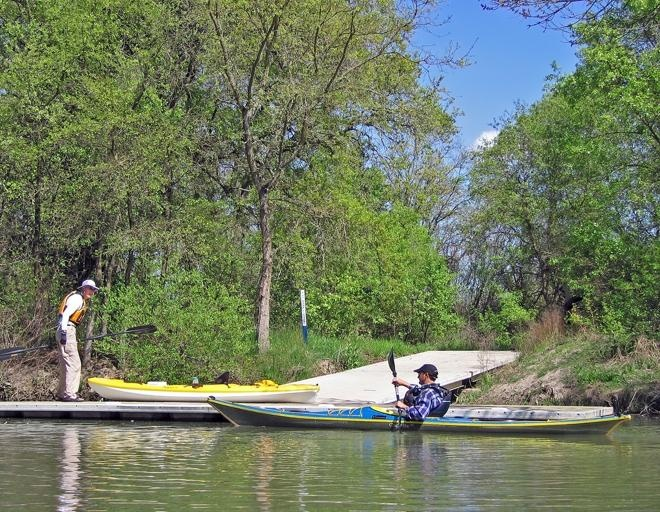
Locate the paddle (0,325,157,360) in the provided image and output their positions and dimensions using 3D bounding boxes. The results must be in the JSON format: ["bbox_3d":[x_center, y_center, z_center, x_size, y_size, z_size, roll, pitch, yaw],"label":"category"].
[{"bbox_3d":[-6.800,2.348,24.148,3.095,0.260,0.381,-13,-37,-20],"label":"paddle"}]

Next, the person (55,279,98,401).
[{"bbox_3d":[-6.302,2.072,22.074,0.799,2.968,0.700,4,-10,-21],"label":"person"}]

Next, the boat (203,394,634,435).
[{"bbox_3d":[1.948,3.699,20.286,8.600,0.773,1.160,-2,-12,7],"label":"boat"}]

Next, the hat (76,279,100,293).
[{"bbox_3d":[-5.986,0.730,22.271,0.354,0.202,0.359,7,-3,11],"label":"hat"}]

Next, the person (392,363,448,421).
[{"bbox_3d":[2.046,3.080,20.086,1.187,1.257,0.599,-1,-10,5],"label":"person"}]

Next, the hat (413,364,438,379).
[{"bbox_3d":[2.146,2.566,20.009,0.428,0.260,0.322,12,-4,18],"label":"hat"}]
